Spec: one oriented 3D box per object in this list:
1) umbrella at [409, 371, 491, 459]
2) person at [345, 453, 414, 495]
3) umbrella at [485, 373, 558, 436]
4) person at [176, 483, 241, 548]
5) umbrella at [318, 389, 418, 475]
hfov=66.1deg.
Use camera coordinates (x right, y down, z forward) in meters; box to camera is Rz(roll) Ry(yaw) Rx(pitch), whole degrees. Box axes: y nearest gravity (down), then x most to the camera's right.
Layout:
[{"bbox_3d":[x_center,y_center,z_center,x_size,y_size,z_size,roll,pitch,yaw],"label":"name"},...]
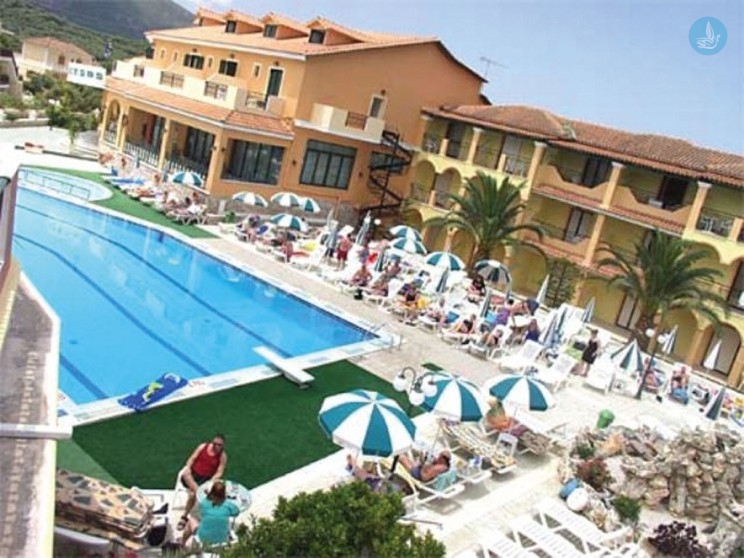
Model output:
[{"bbox_3d":[1.463,2.397,11.008,1.294,1.131,1.317,2,25,-25],"label":"umbrella"},{"bbox_3d":[0.160,3.423,9.949,1.050,0.489,0.520,27,21,16],"label":"person"},{"bbox_3d":[3.133,2.798,11.972,1.218,1.361,1.321,16,-21,-5],"label":"umbrella"},{"bbox_3d":[-2.316,3.437,8.242,0.528,1.070,0.638,14,26,-23],"label":"person"},{"bbox_3d":[-0.010,2.707,10.191,1.646,1.126,1.702,0,18,-23],"label":"umbrella"}]
